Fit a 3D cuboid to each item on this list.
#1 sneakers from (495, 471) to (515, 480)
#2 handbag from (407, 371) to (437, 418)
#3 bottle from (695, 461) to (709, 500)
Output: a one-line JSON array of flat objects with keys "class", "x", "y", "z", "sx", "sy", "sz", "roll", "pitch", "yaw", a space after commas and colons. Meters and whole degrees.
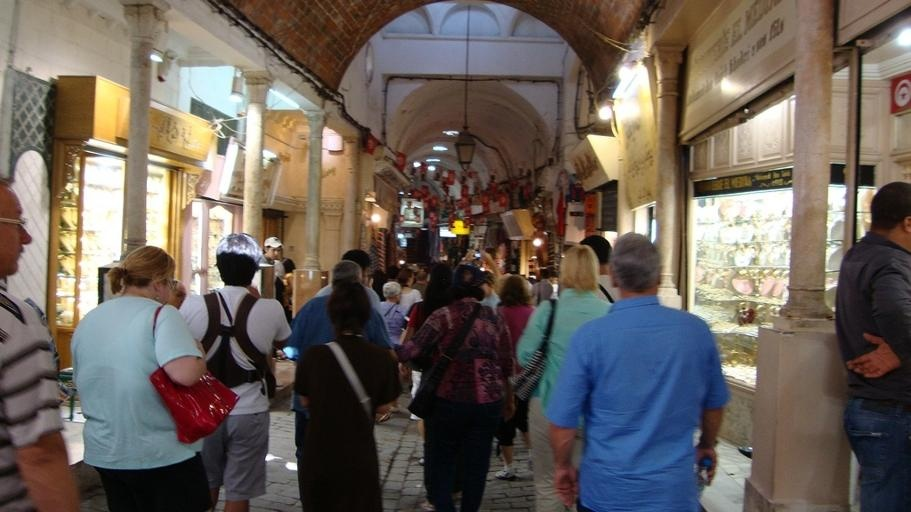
[{"class": "sneakers", "x": 0.603, "y": 2.641, "z": 7.717, "sx": 0.218, "sy": 0.075, "sz": 0.107, "roll": 5, "pitch": -3, "yaw": -1}, {"class": "handbag", "x": -0.342, "y": 1.384, "z": 6.320, "sx": 0.211, "sy": 0.477, "sz": 0.274, "roll": 3, "pitch": -2, "yaw": -22}, {"class": "bottle", "x": 1.977, "y": 1.761, "z": 5.086, "sx": 0.104, "sy": 0.321, "sz": 0.250, "roll": 1, "pitch": -2, "yaw": 20}]
